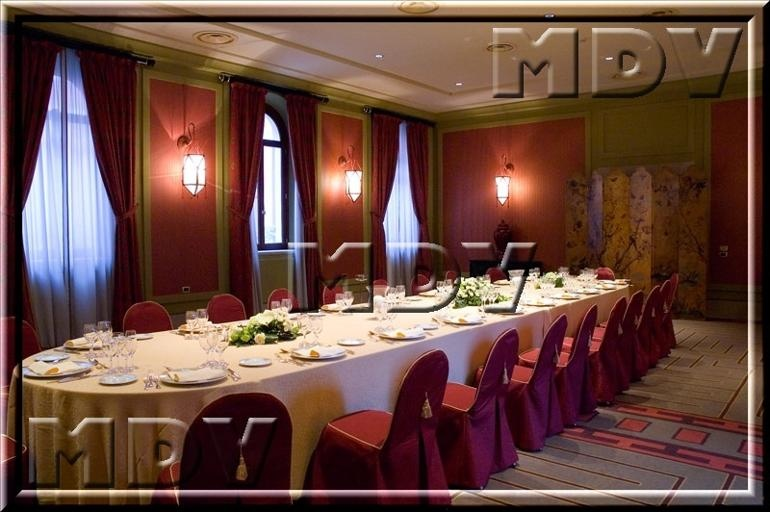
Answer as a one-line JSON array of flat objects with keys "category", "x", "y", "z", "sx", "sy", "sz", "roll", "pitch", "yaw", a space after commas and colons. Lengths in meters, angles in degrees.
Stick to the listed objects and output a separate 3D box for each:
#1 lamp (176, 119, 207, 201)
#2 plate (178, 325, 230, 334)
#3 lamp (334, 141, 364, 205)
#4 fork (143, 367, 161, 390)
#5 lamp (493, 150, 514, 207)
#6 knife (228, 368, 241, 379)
[{"category": "lamp", "x": -2.686, "y": -1.354, "z": 7.719, "sx": 0.329, "sy": 1.011, "sz": 0.265, "roll": -8, "pitch": 18, "yaw": -39}, {"category": "plate", "x": -1.649, "y": 0.646, "z": 4.883, "sx": 0.227, "sy": 0.025, "sz": 0.228, "roll": 0, "pitch": 2, "yaw": -4}, {"category": "lamp", "x": -0.656, "y": -1.496, "z": 9.965, "sx": 0.444, "sy": 1.011, "sz": 0.272, "roll": 1, "pitch": 14, "yaw": -9}, {"category": "fork", "x": -1.633, "y": 0.854, "z": 3.875, "sx": 0.069, "sy": 0.038, "sz": 0.255, "roll": 3, "pitch": 15, "yaw": -27}, {"category": "lamp", "x": 2.310, "y": -1.525, "z": 10.978, "sx": 0.390, "sy": 1.008, "sz": 0.208, "roll": 12, "pitch": 16, "yaw": 32}, {"category": "knife", "x": -1.076, "y": 0.829, "z": 3.953, "sx": 0.041, "sy": 0.015, "sz": 0.169, "roll": -1, "pitch": 4, "yaw": -32}]
